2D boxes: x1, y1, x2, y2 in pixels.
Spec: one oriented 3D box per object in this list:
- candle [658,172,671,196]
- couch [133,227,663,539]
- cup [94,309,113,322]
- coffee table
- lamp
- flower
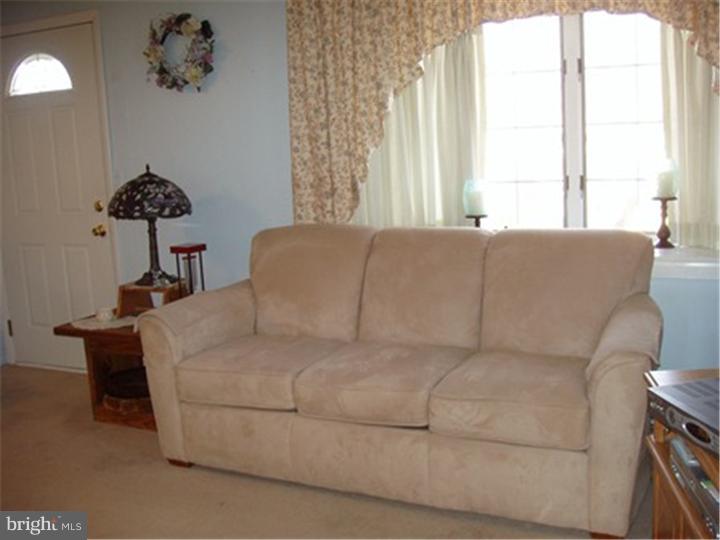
[{"bbox_3d":[1.564,-0.439,3.123,0.078,0.125,0.026,2,15,19],"label":"candle"},{"bbox_3d":[0.209,0.395,2.802,2.071,1.065,1.029,4,15,27],"label":"couch"},{"bbox_3d":[-1.463,0.255,3.474,0.073,0.056,0.081,0,-3,3],"label":"cup"},{"bbox_3d":[-1.310,0.580,3.600,0.733,0.665,0.574,0,10,11],"label":"coffee table"},{"bbox_3d":[-1.206,-0.185,3.567,0.469,0.817,0.452,-3,3,-41],"label":"lamp"},{"bbox_3d":[-1.186,-1.367,4.013,0.442,0.143,0.448,-1,-9,-35],"label":"flower"}]
